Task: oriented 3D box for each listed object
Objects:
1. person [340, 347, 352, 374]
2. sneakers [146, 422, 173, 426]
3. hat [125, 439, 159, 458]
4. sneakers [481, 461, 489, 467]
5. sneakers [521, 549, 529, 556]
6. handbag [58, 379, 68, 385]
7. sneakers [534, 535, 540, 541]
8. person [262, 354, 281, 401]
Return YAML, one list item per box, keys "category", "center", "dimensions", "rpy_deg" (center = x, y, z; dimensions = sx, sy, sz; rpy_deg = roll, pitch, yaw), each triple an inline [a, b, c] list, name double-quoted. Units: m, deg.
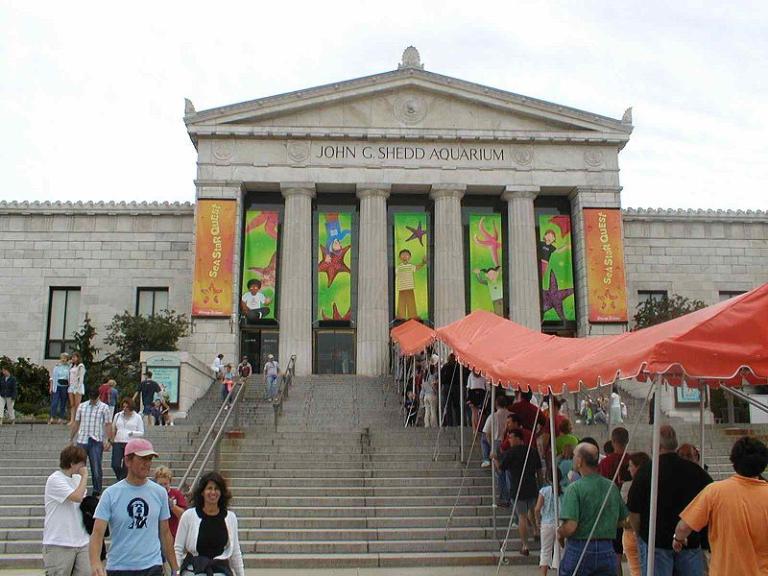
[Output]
- category: "person"
  center: [-1.606, 3.066, 39.282]
  dimensions: [0.398, 0.957, 0.172]
  rpy_deg: [2, -5, -8]
- category: "sneakers"
  center: [-6.247, 3.742, 25.593]
  dimensions: [0.427, 0.106, 0.065]
  rpy_deg: [4, -14, -17]
- category: "hat"
  center: [-3.214, 2.069, 12.036]
  dimensions: [0.391, 0.229, 0.303]
  rpy_deg: [-5, -12, 22]
- category: "sneakers"
  center: [2.180, 3.717, 19.704]
  dimensions: [0.100, 0.119, 0.265]
  rpy_deg: [-2, -20, -7]
- category: "sneakers"
  center: [2.565, 4.718, 16.638]
  dimensions: [0.161, 0.149, 0.137]
  rpy_deg: [2, -5, -6]
- category: "handbag"
  center: [-8.773, 2.578, 25.289]
  dimensions: [0.232, 0.093, 0.184]
  rpy_deg: [-8, -20, 29]
- category: "sneakers"
  center: [2.875, 4.654, 17.250]
  dimensions: [0.058, 0.106, 0.143]
  rpy_deg: [2, -5, -7]
- category: "person"
  center: [-3.945, 3.103, 32.502]
  dimensions: [0.478, 1.555, 0.486]
  rpy_deg: [0, 14, -8]
